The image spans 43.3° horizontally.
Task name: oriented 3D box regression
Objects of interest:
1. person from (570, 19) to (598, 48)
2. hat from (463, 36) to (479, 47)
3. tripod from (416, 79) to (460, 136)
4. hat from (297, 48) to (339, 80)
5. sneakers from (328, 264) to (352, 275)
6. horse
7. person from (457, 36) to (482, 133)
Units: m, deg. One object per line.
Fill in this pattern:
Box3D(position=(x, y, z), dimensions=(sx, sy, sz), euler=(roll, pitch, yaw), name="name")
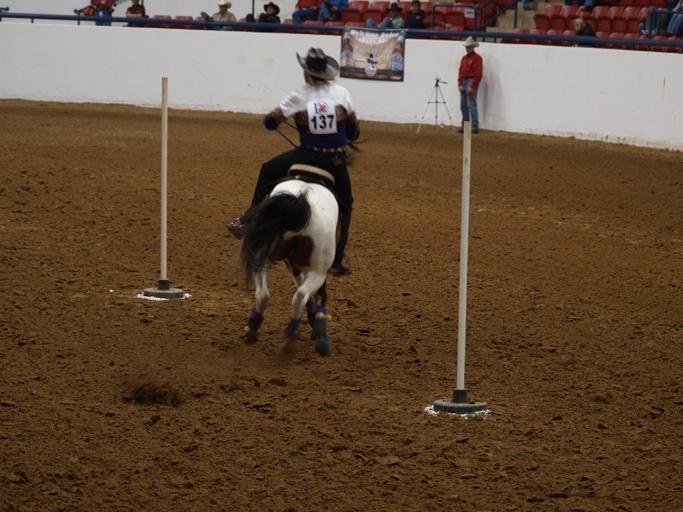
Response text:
Box3D(position=(5.778, -5.318, 20.396), dimensions=(0.579, 0.651, 1.519), euler=(7, 17, 13), name="person")
Box3D(position=(3.053, -5.067, 20.285), dimensions=(0.280, 0.130, 0.303), euler=(8, -22, 17), name="hat")
Box3D(position=(2.399, -3.887, 21.548), dimensions=(0.896, 1.244, 0.312), euler=(4, 19, 3), name="tripod")
Box3D(position=(-0.252, -2.039, 9.092), dimensions=(0.427, 0.337, 0.398), euler=(2, 17, -4), name="hat")
Box3D(position=(0.000, 0.148, 10.167), dimensions=(0.208, 0.078, 0.387), euler=(-16, -16, 39), name="sneakers")
Box3D(position=(-0.514, 0.000, 8.941), dimensions=(0.850, 1.894, 1.087), euler=(11, 20, 21), name="horse")
Box3D(position=(3.101, -4.099, 20.644), dimensions=(0.628, 2.261, 0.856), euler=(6, 19, 7), name="person")
